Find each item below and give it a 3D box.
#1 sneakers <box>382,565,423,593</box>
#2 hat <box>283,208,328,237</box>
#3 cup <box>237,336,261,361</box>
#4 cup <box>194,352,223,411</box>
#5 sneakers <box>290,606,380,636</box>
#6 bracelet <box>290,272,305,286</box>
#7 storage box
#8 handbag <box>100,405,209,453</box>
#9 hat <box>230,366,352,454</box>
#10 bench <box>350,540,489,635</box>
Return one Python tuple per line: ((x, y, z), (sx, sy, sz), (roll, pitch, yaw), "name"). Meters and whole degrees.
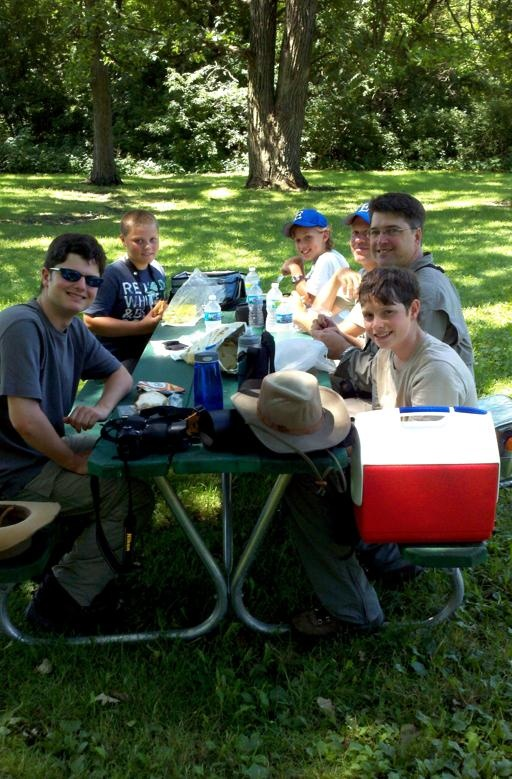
((0.600, 0.785, 2.707), (0.166, 0.093, 0.062), (-26, 50, 0), "sneakers")
((0.377, -1.140, 4.448), (0.257, 0.136, 0.164), (0, 13, -41), "hat")
((-0.044, -0.171, 2.700), (0.086, 0.095, 0.088), (1, 15, 0), "cup")
((-0.176, -0.023, 2.337), (0.117, 0.273, 0.114), (-2, 23, 1), "cup")
((0.264, 0.854, 2.375), (0.209, 0.049, 0.124), (-2, 3, 2), "sneakers")
((0.307, -0.782, 4.590), (0.119, 0.112, 0.048), (-1, -23, 46), "bracelet")
((0.470, 0.246, 2.112), (0.519, 0.481, 0.377), (0, 14, 3), "storage box")
((-0.350, 0.119, 2.141), (0.315, 0.126, 0.341), (-4, 13, -16), "handbag")
((0.114, 0.057, 2.123), (0.389, 0.224, 0.442), (0, 13, -1), "hat")
((0.486, 0.575, 2.070), (0.293, 0.283, 0.342), (29, -27, -20), "bench")
